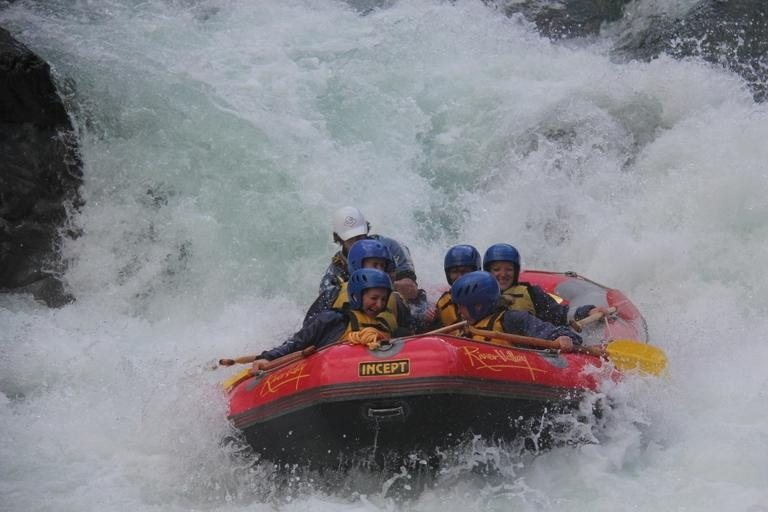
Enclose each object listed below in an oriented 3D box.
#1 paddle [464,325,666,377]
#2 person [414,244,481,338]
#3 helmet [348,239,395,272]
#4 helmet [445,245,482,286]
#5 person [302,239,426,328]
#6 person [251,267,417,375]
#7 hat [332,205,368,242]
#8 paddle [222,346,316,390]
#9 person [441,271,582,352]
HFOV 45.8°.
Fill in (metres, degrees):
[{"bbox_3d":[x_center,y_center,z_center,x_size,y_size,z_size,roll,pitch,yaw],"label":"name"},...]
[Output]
[{"bbox_3d":[2.650,1.354,13.248,2.887,0.261,0.682,0,56,23],"label":"paddle"},{"bbox_3d":[1.066,0.527,13.530,0.877,0.571,1.265,18,97,33],"label":"person"},{"bbox_3d":[-0.186,-0.062,13.471,0.436,0.602,0.439,-6,39,-39],"label":"helmet"},{"bbox_3d":[1.188,0.118,13.940,0.470,0.624,0.578,-1,83,14],"label":"helmet"},{"bbox_3d":[-0.131,0.411,13.493,1.195,0.988,1.606,5,30,14],"label":"person"},{"bbox_3d":[-0.308,0.871,12.976,3.350,1.410,1.003,-2,5,-30],"label":"person"},{"bbox_3d":[-0.587,-0.611,14.921,0.586,0.414,0.813,-9,25,-2],"label":"hat"},{"bbox_3d":[-1.574,1.588,12.645,0.808,0.140,0.349,-26,43,-17],"label":"paddle"},{"bbox_3d":[2.026,0.764,12.936,2.071,0.836,1.242,9,31,15],"label":"person"}]
